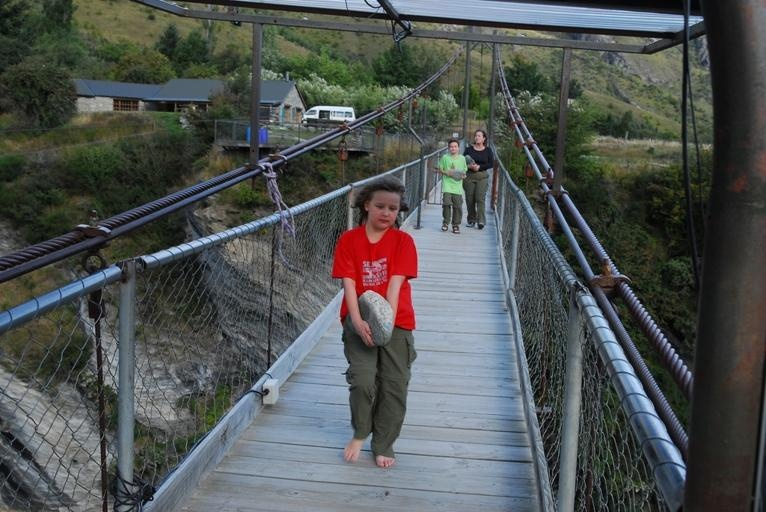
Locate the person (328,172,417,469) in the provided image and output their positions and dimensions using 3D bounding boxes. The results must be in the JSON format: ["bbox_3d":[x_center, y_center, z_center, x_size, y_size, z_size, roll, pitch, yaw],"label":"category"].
[{"bbox_3d":[-0.059,0.415,3.137,0.458,1.291,0.382,3,12,0],"label":"person"}]

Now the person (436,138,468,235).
[{"bbox_3d":[1.079,-1.105,9.381,0.436,1.461,0.899,5,12,8],"label":"person"}]

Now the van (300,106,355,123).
[{"bbox_3d":[-4.087,-10.475,43.700,3.778,1.195,3.064,0,14,-20],"label":"van"}]
